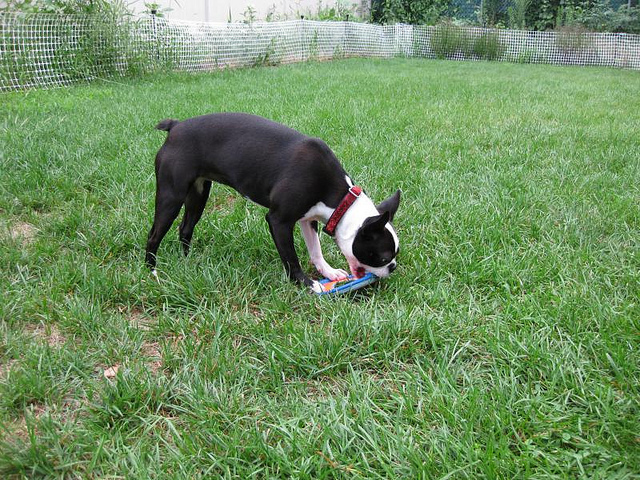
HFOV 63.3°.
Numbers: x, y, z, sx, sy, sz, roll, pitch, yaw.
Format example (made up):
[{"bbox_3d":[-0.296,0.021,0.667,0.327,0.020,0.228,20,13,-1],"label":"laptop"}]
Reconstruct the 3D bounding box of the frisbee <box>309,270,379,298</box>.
[{"bbox_3d":[0.124,0.251,3.449,0.338,0.080,0.195,-23,8,-22],"label":"frisbee"}]

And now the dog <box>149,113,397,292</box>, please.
[{"bbox_3d":[-0.356,-0.264,3.657,1.786,1.100,0.596,12,15,11],"label":"dog"}]
